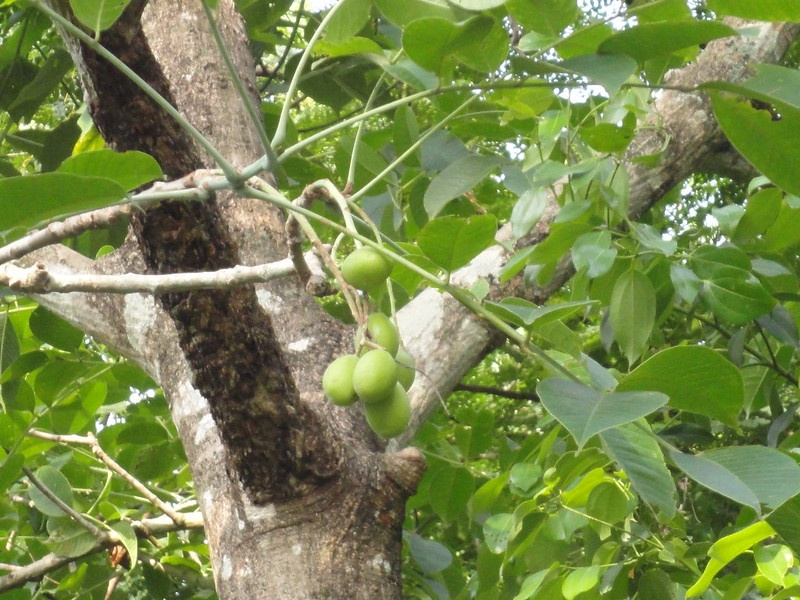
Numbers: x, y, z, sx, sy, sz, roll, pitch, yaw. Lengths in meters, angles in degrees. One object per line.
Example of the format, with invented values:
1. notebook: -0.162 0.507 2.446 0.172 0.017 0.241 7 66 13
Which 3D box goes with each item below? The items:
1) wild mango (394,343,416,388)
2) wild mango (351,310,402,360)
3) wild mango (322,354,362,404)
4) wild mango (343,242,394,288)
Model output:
1. wild mango: 0.017 0.190 3.493 0.079 0.066 0.108 -12 87 31
2. wild mango: -0.058 0.099 3.425 0.127 0.119 0.147 -8 60 9
3. wild mango: -0.172 0.228 3.421 0.099 0.134 0.104 27 54 -1
4. wild mango: -0.098 -0.086 3.414 0.150 0.113 0.118 -1 88 -7
